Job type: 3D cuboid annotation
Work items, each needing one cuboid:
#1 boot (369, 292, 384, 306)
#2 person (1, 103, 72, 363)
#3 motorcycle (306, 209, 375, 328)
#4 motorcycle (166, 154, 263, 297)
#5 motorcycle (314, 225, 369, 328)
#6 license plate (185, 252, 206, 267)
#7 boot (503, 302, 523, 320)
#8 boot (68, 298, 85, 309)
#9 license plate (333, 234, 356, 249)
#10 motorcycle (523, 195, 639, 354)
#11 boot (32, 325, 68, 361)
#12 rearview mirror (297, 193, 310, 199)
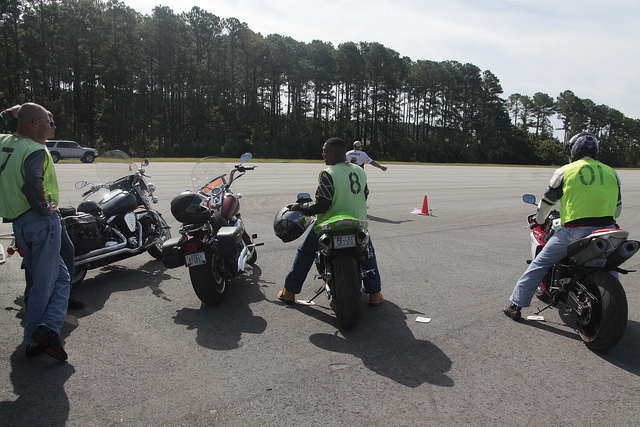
[{"bbox_3d":[0.795,1.238,6.164,0.098,0.155,0.239,1,16,19],"label":"boot"},{"bbox_3d":[-3.293,0.170,4.921,0.608,2.775,1.302,-7,16,-31],"label":"person"},{"bbox_3d":[0.275,0.708,5.664,0.742,1.389,0.826,1,14,1],"label":"motorcycle"},{"bbox_3d":[-1.633,0.093,7.054,1.150,2.041,2.779,0,14,-6],"label":"motorcycle"},{"bbox_3d":[0.280,0.776,5.615,0.492,1.318,0.809,-10,17,-37],"label":"motorcycle"},{"bbox_3d":[-1.676,0.611,5.755,0.173,0.128,0.034,-3,11,-6],"label":"license plate"},{"bbox_3d":[2.620,1.324,5.907,0.107,0.217,0.307,-4,23,-10],"label":"boot"},{"bbox_3d":[-3.377,1.248,5.939,0.233,0.117,0.092,-3,37,-5],"label":"boot"},{"bbox_3d":[0.304,0.360,5.422,0.271,0.159,0.051,-1,14,-8],"label":"license plate"},{"bbox_3d":[3.312,0.799,5.572,0.651,1.533,1.529,0,14,-6],"label":"motorcycle"},{"bbox_3d":[-2.993,1.439,4.724,0.124,0.347,0.164,-31,15,13],"label":"boot"},{"bbox_3d":[-0.241,-0.242,6.076,0.157,0.080,0.256,-1,14,-8],"label":"rearview mirror"}]
